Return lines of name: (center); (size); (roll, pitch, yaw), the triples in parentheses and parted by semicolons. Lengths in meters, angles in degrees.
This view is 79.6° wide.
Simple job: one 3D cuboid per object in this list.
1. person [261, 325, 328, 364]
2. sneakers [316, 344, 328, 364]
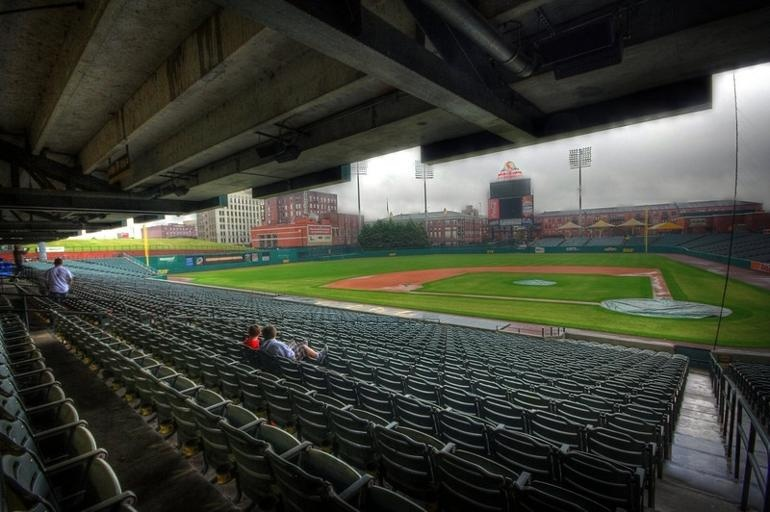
person: (-1.970, 1.851, 9.762); (0.715, 0.770, 1.508); (-14, -12, 32)
sneakers: (-1.367, 2.093, 9.941); (0.159, 0.161, 0.408); (-3, 26, 14)
